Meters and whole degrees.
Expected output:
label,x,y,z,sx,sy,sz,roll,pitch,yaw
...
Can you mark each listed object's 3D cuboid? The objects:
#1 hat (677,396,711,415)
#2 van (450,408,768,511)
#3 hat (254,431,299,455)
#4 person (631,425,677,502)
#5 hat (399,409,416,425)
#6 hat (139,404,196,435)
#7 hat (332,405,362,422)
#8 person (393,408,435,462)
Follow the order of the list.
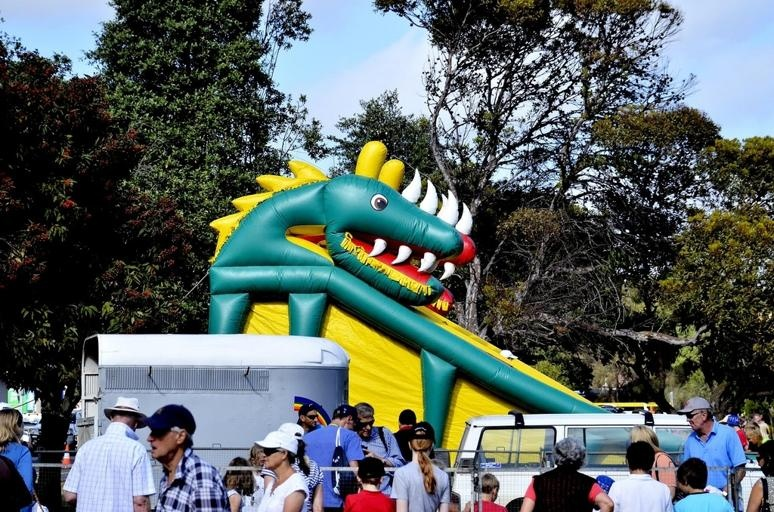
label,x,y,z,sx,sy,sz,roll,pitch,yaw
hat,6.224,3.011,24.390,0.446,0.256,0.333,1,-8,3
van,3.885,4.894,26.149,4.787,2.614,2.757,-1,-2,1
hat,-1.924,3.347,21.802,0.537,0.291,0.410,8,-10,-2
person,5.213,4.080,23.792,0.694,1.435,0.996,-9,3,-17
hat,0.424,3.275,24.609,0.238,0.332,0.318,3,-17,-13
hat,-3.794,2.916,21.477,0.682,0.433,0.519,18,-4,-2
hat,-0.835,3.043,23.871,0.394,0.333,0.294,-13,14,-27
person,0.442,3.555,24.384,0.596,1.142,0.670,-1,-6,2
